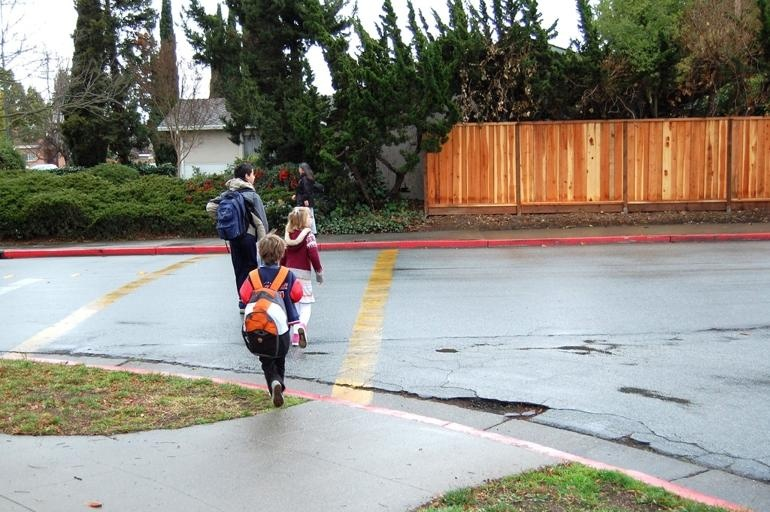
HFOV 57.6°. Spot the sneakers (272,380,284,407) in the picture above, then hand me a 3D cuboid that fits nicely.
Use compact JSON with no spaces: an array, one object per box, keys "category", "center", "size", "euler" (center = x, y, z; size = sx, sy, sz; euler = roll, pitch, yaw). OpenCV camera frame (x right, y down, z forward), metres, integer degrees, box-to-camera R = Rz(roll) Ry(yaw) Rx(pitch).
[{"category":"sneakers","center":[-1.248,1.615,8.183],"size":[0.125,0.290,0.127],"euler":[-7,1,-19]}]
